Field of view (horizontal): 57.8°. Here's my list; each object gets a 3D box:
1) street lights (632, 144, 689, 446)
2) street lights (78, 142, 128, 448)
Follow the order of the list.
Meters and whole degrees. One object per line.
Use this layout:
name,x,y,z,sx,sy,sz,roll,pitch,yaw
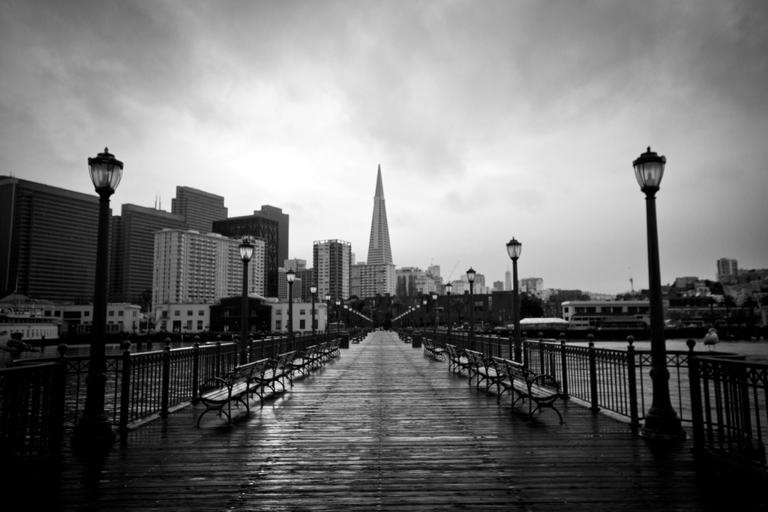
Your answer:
street lights,5.544,0.684,14.222,0.726,5.992,0.521,-2,-8,20
street lights,-5.693,0.721,14.001,0.779,6.077,0.712,4,-9,-24
